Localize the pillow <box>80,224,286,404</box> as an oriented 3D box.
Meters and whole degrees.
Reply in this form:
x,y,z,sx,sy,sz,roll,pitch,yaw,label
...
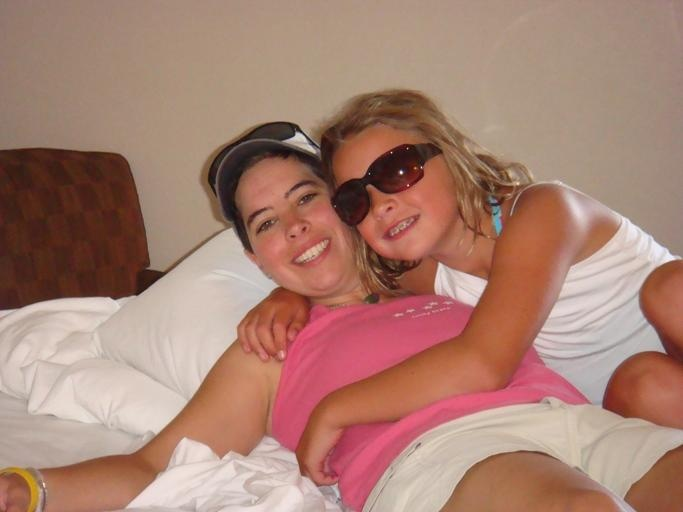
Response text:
x,y,z,sx,sy,sz,roll,pitch,yaw,label
-0.540,0.236,2.242,0.567,0.481,0.148,-45,-49,7,pillow
